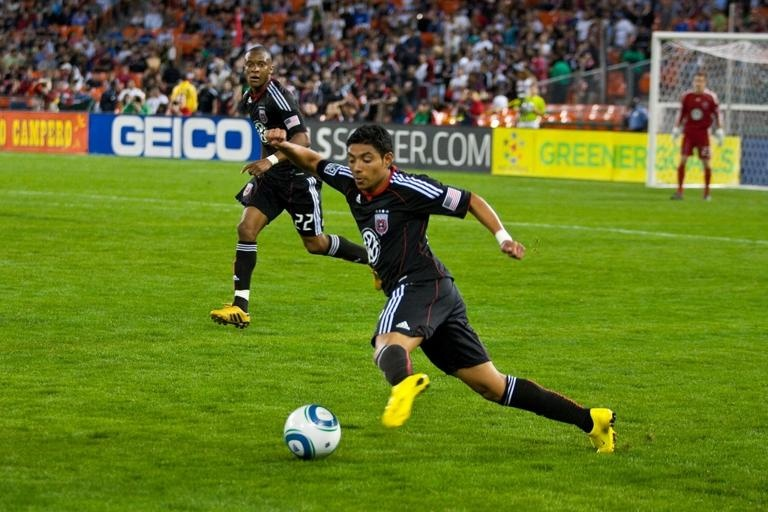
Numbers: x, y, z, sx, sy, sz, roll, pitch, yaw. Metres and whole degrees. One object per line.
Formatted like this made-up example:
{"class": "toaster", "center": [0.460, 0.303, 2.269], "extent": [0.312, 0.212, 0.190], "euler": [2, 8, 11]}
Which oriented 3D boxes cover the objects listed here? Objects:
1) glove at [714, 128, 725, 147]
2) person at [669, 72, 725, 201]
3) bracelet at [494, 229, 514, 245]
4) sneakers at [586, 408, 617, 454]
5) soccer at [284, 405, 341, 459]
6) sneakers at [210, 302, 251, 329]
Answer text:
{"class": "glove", "center": [6.285, -2.151, 22.312], "extent": [0.120, 0.266, 0.217], "euler": [7, -5, 4]}
{"class": "person", "center": [5.757, -2.124, 21.950], "extent": [0.903, 2.231, 1.472], "euler": [4, 6, 13]}
{"class": "bracelet", "center": [1.149, -0.157, 11.350], "extent": [0.129, 0.078, 0.192], "euler": [-14, 31, -10]}
{"class": "sneakers", "center": [2.081, 1.629, 11.384], "extent": [0.281, 0.481, 0.179], "euler": [-4, 33, 10]}
{"class": "soccer", "center": [-0.683, 1.593, 11.357], "extent": [0.522, 0.472, 0.487], "euler": [8, 15, -33]}
{"class": "sneakers", "center": [-1.712, 0.677, 13.754], "extent": [0.438, 0.201, 0.214], "euler": [19, -11, -7]}
